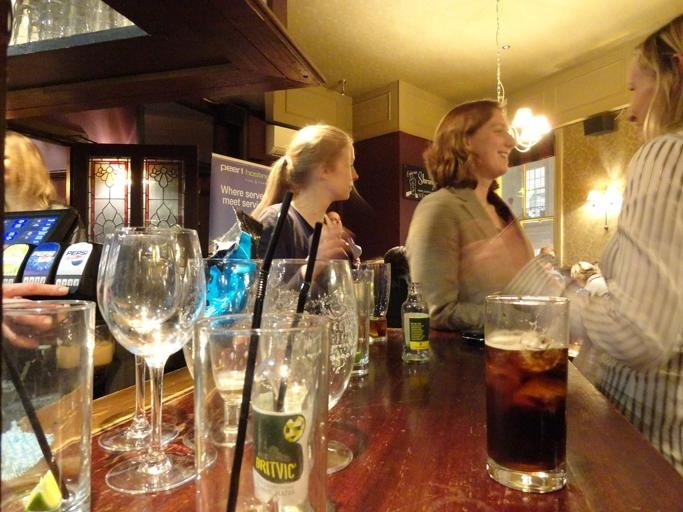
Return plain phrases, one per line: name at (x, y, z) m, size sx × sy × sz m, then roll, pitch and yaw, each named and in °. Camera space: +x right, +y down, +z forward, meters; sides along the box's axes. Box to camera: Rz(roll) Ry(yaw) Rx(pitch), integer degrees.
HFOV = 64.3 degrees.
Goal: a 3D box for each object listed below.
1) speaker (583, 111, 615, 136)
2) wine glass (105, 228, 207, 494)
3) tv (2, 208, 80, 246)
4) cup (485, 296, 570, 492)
speaker at (2.738, -1.403, 5.826) m, size 0.237 × 0.209 × 0.354 m, roll -5°, pitch 2°, yaw -33°
wine glass at (-0.281, 0.136, 0.821) m, size 0.155 × 0.343 × 0.281 m, roll -3°, pitch 12°, yaw -15°
tv at (-0.851, -0.077, 1.451) m, size 0.217 × 0.079 × 0.181 m, roll 1°, pitch 11°, yaw 5°
cup at (0.271, 0.196, 0.794) m, size 0.124 × 0.250 × 0.121 m, roll 0°, pitch 11°, yaw 0°
